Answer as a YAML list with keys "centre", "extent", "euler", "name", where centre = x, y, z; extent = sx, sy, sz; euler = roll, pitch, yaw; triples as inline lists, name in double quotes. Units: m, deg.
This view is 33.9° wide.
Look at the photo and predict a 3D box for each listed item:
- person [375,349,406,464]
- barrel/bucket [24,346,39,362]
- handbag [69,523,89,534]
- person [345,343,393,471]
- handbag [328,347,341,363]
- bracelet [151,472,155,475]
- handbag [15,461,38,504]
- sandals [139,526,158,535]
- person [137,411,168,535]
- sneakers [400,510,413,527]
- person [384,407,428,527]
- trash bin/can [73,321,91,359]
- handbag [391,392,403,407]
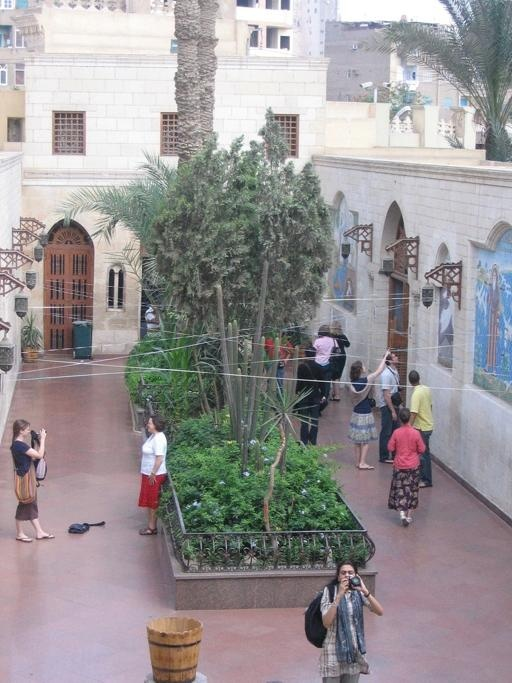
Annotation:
- centre: [1.938, 0.954, 12.029]
  extent: [0.452, 1.874, 0.611]
  euler: [-1, 37, 2]
  name: "person"
- centre: [-5.534, 0.318, 20.735]
  extent: [0.310, 0.331, 0.330]
  euler: [2, 3, 0]
  name: "barrel/bucket"
- centre: [-1.928, 2.051, 9.148]
  extent: [0.220, 0.062, 0.314]
  euler: [0, 5, -12]
  name: "handbag"
- centre: [1.544, 1.004, 11.747]
  extent: [0.501, 1.703, 1.177]
  euler: [1, 4, 7]
  name: "person"
- centre: [1.418, 0.286, 14.980]
  extent: [0.186, 0.298, 0.282]
  euler: [1, 13, 5]
  name: "handbag"
- centre: [-1.061, 1.379, 8.694]
  extent: [0.033, 0.042, 0.044]
  euler: [1, -13, 1]
  name: "bracelet"
- centre: [-2.356, 1.478, 8.601]
  extent: [0.194, 0.445, 0.144]
  euler: [-1, 5, -21]
  name: "handbag"
- centre: [-1.162, 2.068, 9.076]
  extent: [0.136, 0.056, 0.084]
  euler: [6, 7, 0]
  name: "sandals"
- centre: [-1.075, 1.448, 8.852]
  extent: [0.280, 1.363, 0.454]
  euler: [0, 4, -8]
  name: "person"
- centre: [1.700, 2.009, 9.537]
  extent: [0.077, 0.110, 0.244]
  euler: [-1, 3, 5]
  name: "sneakers"
- centre: [1.672, 1.529, 9.468]
  extent: [0.395, 1.128, 0.286]
  euler: [1, 4, 1]
  name: "person"
- centre: [-4.316, -0.001, 20.941]
  extent: [0.437, 0.987, 0.410]
  euler: [-1, 5, -18]
  name: "trash bin/can"
- centre: [2.029, 0.853, 12.165]
  extent: [0.158, 0.232, 0.309]
  euler: [-5, 2, 14]
  name: "handbag"
